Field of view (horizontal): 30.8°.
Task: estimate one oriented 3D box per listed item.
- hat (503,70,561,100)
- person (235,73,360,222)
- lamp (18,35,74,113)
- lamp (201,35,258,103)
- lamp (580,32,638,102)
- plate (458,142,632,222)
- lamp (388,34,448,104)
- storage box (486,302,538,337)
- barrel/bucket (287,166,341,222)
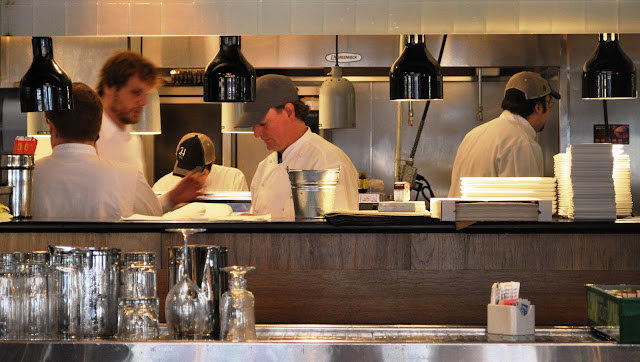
[{"bbox_3d":[1.795,-0.788,9.846,0.488,0.202,0.334,-8,11,-39],"label":"hat"},{"bbox_3d":[-0.198,-0.267,9.311,0.936,1.188,1.355,-2,-2,-28],"label":"person"},{"bbox_3d":[-2.018,-0.791,8.460,0.620,0.529,0.559,-6,9,-16],"label":"lamp"},{"bbox_3d":[-0.678,-0.813,8.574,0.383,0.484,0.137,-2,1,-7],"label":"lamp"},{"bbox_3d":[2.149,-0.841,8.624,0.383,0.475,0.130,-1,1,12],"label":"lamp"},{"bbox_3d":[1.681,0.027,8.607,0.679,0.489,0.367,-2,5,-42],"label":"plate"},{"bbox_3d":[0.733,-0.850,8.715,0.635,0.480,0.572,-1,3,10],"label":"lamp"},{"bbox_3d":[1.297,0.937,7.858,0.190,0.185,0.313,1,-5,-25],"label":"storage box"},{"bbox_3d":[-0.075,0.099,8.467,0.449,0.326,0.406,-2,-2,-1],"label":"barrel/bucket"}]
